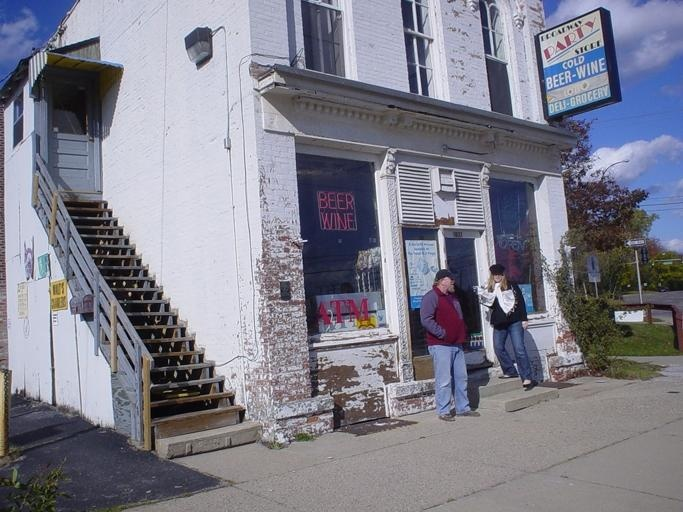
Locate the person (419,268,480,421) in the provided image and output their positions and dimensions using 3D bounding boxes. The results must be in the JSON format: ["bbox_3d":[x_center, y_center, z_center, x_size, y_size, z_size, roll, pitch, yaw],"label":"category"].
[{"bbox_3d":[1.738,1.445,9.713,0.556,2.471,0.774,-10,-7,40],"label":"person"}]

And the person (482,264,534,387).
[{"bbox_3d":[3.178,1.350,11.209,0.785,2.399,0.450,-7,-5,14],"label":"person"}]

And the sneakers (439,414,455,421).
[{"bbox_3d":[1.732,2.638,9.547,0.197,0.093,0.096,-8,-9,42],"label":"sneakers"}]

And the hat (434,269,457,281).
[{"bbox_3d":[1.744,0.296,9.809,0.255,0.149,0.190,-13,5,-11],"label":"hat"}]
